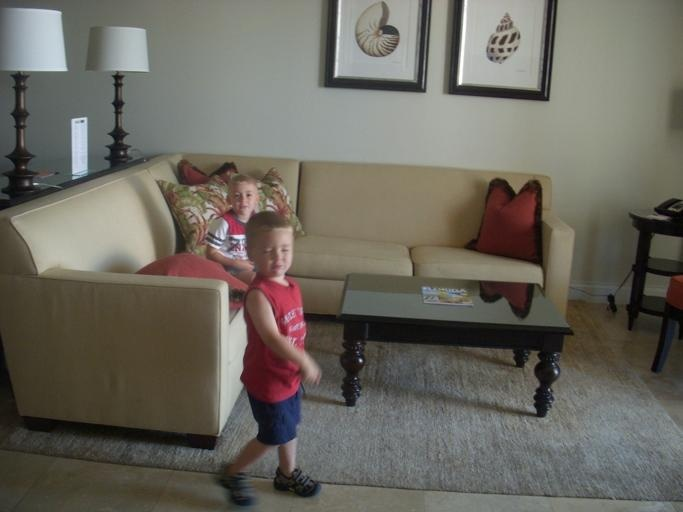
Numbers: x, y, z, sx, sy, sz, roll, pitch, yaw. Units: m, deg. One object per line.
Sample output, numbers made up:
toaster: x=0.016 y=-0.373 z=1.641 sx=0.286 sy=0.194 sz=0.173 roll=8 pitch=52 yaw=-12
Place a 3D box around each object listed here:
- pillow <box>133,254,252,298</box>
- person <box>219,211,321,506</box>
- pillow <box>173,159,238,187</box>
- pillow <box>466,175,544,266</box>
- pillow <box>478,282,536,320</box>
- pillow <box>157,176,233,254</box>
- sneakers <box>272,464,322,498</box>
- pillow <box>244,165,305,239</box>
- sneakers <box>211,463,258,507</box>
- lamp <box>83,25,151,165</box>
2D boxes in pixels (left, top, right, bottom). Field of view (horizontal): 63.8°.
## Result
pillow: x=-0.671 y=0.069 z=2.600 sx=0.321 sy=0.104 sz=0.290 roll=19 pitch=10 yaw=-25
person: x=-0.304 y=0.393 z=2.120 sx=0.394 sy=1.109 sz=0.329 roll=-5 pitch=19 yaw=-15
pillow: x=-0.917 y=-0.559 z=3.674 sx=0.253 sy=0.094 sz=0.266 roll=-11 pitch=36 yaw=-11
pillow: x=1.084 y=-0.213 z=3.643 sx=0.508 sy=0.550 sz=0.211 roll=5 pitch=-7 yaw=37
pillow: x=0.910 y=0.213 z=2.958 sx=0.185 sy=0.069 sz=0.224 roll=5 pitch=17 yaw=2
pillow: x=-0.868 y=-0.276 z=3.261 sx=0.130 sy=0.451 sz=0.441 roll=-25 pitch=-15 yaw=37
sneakers: x=-0.179 y=0.914 z=2.239 sx=0.191 sy=0.097 sz=0.088 roll=4 pitch=6 yaw=4
pillow: x=-0.443 y=-0.391 z=3.661 sx=0.118 sy=0.422 sz=0.406 roll=-18 pitch=-5 yaw=23
sneakers: x=-0.433 y=0.911 z=2.221 sx=0.077 sy=0.090 sz=0.210 roll=-2 pitch=19 yaw=-43
lamp: x=-1.492 y=-1.098 z=3.729 sx=0.379 sy=0.895 sz=0.561 roll=-6 pitch=19 yaw=-19
